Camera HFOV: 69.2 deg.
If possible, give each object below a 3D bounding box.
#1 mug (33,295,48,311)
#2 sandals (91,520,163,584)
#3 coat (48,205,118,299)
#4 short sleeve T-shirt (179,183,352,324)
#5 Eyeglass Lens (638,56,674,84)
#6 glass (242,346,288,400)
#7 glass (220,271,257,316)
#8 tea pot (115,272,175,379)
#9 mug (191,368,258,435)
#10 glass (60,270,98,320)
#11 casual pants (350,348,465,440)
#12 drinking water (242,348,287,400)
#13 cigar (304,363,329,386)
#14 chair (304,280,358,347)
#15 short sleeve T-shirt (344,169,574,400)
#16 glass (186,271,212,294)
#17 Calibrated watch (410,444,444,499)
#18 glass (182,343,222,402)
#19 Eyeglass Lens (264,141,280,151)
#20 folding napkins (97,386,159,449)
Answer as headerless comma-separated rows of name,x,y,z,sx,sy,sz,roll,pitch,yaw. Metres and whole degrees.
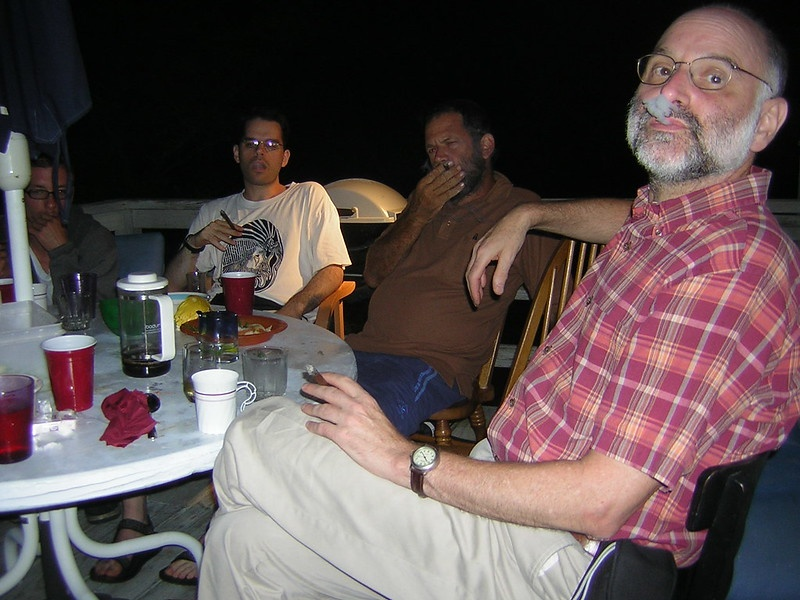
mug,-1.085,0.006,1.745,0.053,0.048,0.052,1,-2,-33
sandals,-0.898,0.845,2.018,0.135,0.154,0.369,1,-7,15
coat,-1.290,-0.200,2.381,0.338,0.444,0.156,-1,-5,-20
short sleeve T-shirt,-0.719,-0.257,3.097,0.935,0.702,0.487,1,10,14
Eyeglass Lens,0.617,-0.559,1.403,0.089,0.041,0.084,5,22,-18
glass,-0.345,0.185,1.494,0.121,0.121,0.129,-8,13,-44
glass,-0.540,-0.023,2.075,0.160,0.173,0.159,-2,2,-11
tea pot,-0.647,0.070,1.515,0.194,0.259,0.141,14,17,43
mug,-0.398,0.227,1.314,0.153,0.133,0.100,3,3,-26
glass,-1.078,-0.005,1.886,0.137,0.153,0.137,0,-12,-15
casual pants,0.026,0.317,2.091,0.326,0.141,0.346,30,0,-20
drinking water,-0.334,0.181,1.441,0.115,0.117,0.124,-1,-2,-6
cigar,-0.217,0.190,1.492,0.042,0.024,0.067,-2,33,-45
chair,-0.331,0.074,2.610,0.168,0.220,0.177,19,-12,-28
short sleeve T-shirt,0.233,-0.070,2.744,0.886,1.182,0.799,17,1,-38
glass,-0.873,-0.079,2.524,0.119,0.124,0.112,1,6,-23
Calibrated watch,0.049,0.344,1.189,0.063,0.092,0.096,-2,39,16
glass,-0.463,0.173,1.422,0.085,0.143,0.144,1,-2,4
Eyeglass Lens,-0.655,-0.794,2.973,0.056,0.019,0.055,2,2,-16
folding napkins,-0.583,0.247,1.227,0.104,0.084,0.122,-7,14,-43
